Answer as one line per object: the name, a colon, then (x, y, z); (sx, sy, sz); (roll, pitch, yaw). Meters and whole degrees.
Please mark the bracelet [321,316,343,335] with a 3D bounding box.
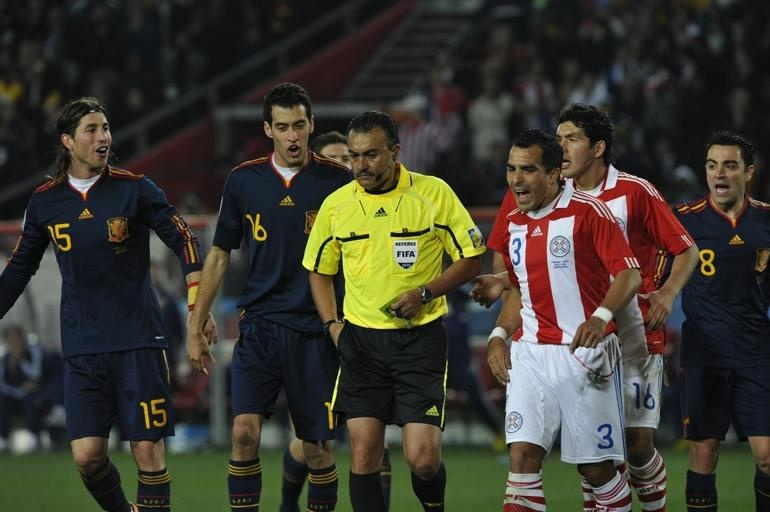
bracelet: (-0.488, 0.615, 11.119); (0.183, 0.122, 0.175); (-32, -18, 22)
